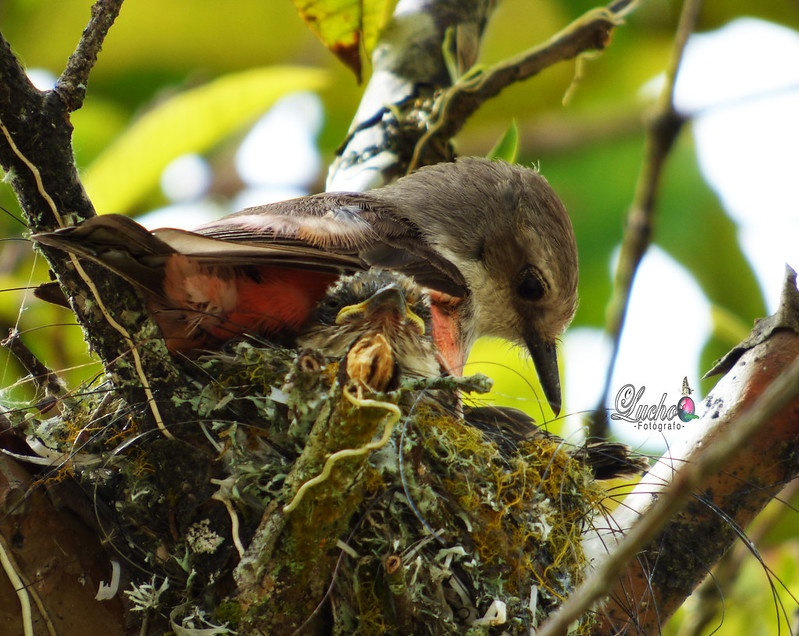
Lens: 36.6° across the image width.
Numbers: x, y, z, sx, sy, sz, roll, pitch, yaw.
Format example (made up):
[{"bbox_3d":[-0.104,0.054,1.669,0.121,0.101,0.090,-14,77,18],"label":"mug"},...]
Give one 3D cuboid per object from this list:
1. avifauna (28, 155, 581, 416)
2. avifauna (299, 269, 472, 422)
[{"bbox_3d":[-0.257,-0.095,3.852,1.379,0.609,0.437,26,-22,-9],"label":"avifauna"},{"bbox_3d":[-0.078,0.013,3.515,0.464,0.344,0.568,0,-6,-13],"label":"avifauna"}]
